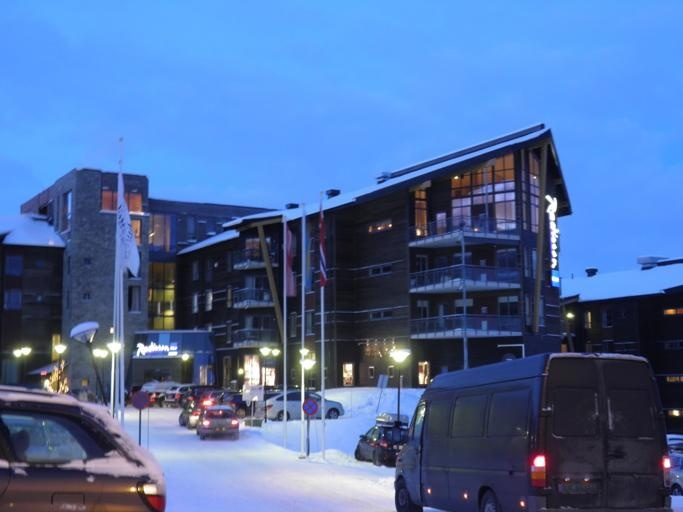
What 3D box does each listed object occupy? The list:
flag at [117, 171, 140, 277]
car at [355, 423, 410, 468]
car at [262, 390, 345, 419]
[{"bbox_3d":[-8.365,-1.132,38.864,0.675,4.251,0.311,-1,9,18],"label":"flag"},{"bbox_3d":[1.592,7.705,40.737,1.542,1.486,2.820,9,-7,-25],"label":"car"},{"bbox_3d":[-1.995,8.247,53.160,3.942,1.727,1.807,0,-5,-16],"label":"car"}]
